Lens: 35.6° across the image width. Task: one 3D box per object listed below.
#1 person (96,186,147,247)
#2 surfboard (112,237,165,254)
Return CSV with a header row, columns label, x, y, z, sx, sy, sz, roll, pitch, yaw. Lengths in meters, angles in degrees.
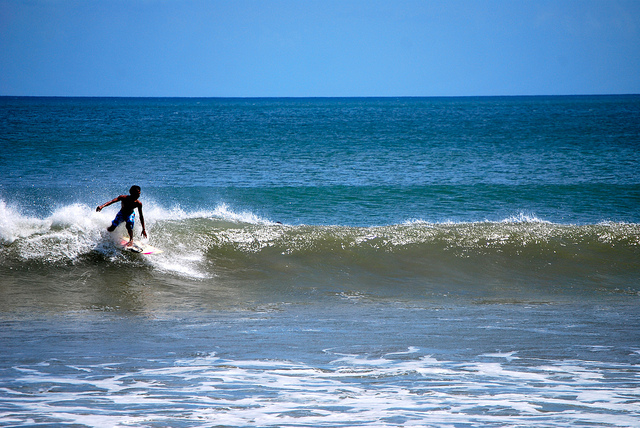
label,x,y,z,sx,sy,sz,roll,pitch,yaw
person,-6.130,0.054,31.147,1.161,1.924,1.008,-1,13,-10
surfboard,-5.907,1.054,31.362,1.999,0.203,0.444,14,13,24
